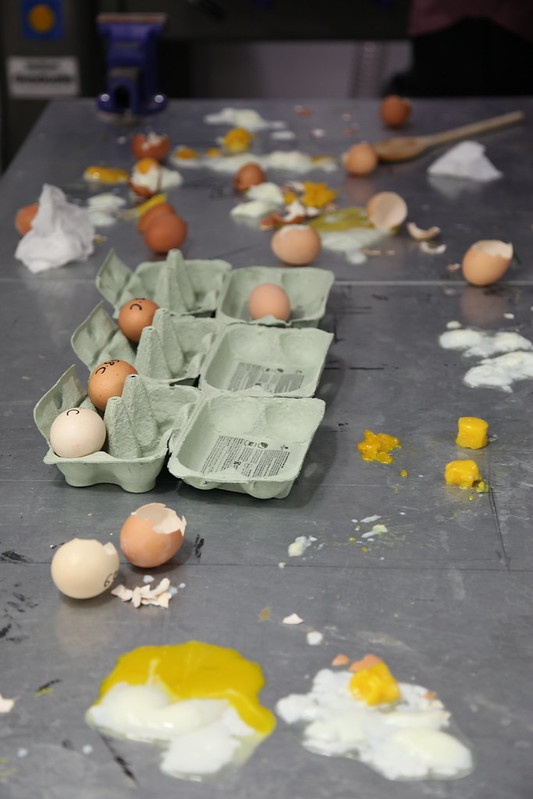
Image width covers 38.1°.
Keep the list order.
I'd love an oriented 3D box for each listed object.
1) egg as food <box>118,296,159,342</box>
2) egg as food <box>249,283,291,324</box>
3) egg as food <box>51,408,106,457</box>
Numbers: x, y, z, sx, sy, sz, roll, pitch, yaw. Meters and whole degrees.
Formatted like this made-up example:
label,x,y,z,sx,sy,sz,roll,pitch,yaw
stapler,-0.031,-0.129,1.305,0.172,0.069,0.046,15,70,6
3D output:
label,x,y,z,sx,sy,sz,roll,pitch,yaw
egg as food,-0.229,-0.157,1.496,0.085,0.089,0.073,2,64,0
egg as food,0.011,-0.179,1.534,0.085,0.092,0.076,0,47,10
egg as food,-0.283,0.056,1.144,0.077,0.078,0.072,-3,19,-21
